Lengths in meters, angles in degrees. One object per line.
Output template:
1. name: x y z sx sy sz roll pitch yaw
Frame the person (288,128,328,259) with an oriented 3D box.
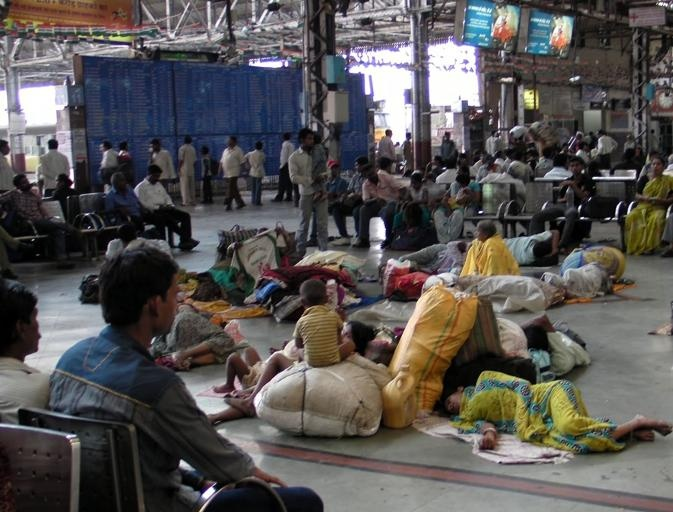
1. person: -0.443 -1.119 11.160 0.803 2.311 0.660 -10 17 -26

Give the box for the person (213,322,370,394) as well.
1. person: -0.245 0.788 4.769 1.232 0.414 0.727 -7 4 -19

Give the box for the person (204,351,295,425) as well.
1. person: -0.694 0.987 4.636 0.426 0.259 0.929 7 10 19

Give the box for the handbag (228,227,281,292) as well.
1. handbag: -1.116 0.076 8.344 0.835 0.919 0.214 -26 43 -32

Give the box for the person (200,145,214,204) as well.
1. person: -4.347 -2.741 20.793 0.440 1.876 1.579 -4 10 -11

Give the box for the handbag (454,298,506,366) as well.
1. handbag: 1.008 0.533 4.625 0.184 0.443 0.470 8 17 43

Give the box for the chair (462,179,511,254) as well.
1. chair: 2.836 -0.809 11.567 1.068 1.031 0.981 -4 8 -29

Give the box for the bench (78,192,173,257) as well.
1. bench: -4.251 -0.647 11.956 0.594 1.028 1.664 20 16 15

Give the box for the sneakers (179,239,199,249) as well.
1. sneakers: -2.858 -0.231 11.934 0.417 0.179 0.147 -14 14 -22

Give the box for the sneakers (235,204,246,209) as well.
1. sneakers: -2.842 -1.480 18.368 0.235 0.112 0.263 -4 9 -14

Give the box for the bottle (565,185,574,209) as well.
1. bottle: 4.062 -1.027 10.836 0.163 0.408 0.454 0 2 9

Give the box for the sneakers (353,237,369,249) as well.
1. sneakers: 0.465 -0.248 11.880 0.401 0.262 0.132 3 5 4

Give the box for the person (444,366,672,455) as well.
1. person: 1.319 0.999 3.971 0.986 0.275 0.570 -2 -7 27

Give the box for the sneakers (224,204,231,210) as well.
1. sneakers: -3.213 -1.432 18.180 0.168 0.172 0.159 -1 -3 -11

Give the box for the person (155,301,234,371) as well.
1. person: -1.486 0.771 6.052 0.899 0.462 1.161 -4 -1 -7

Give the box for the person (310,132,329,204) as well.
1. person: -0.314 -1.564 11.198 0.371 1.426 0.434 0 4 0
